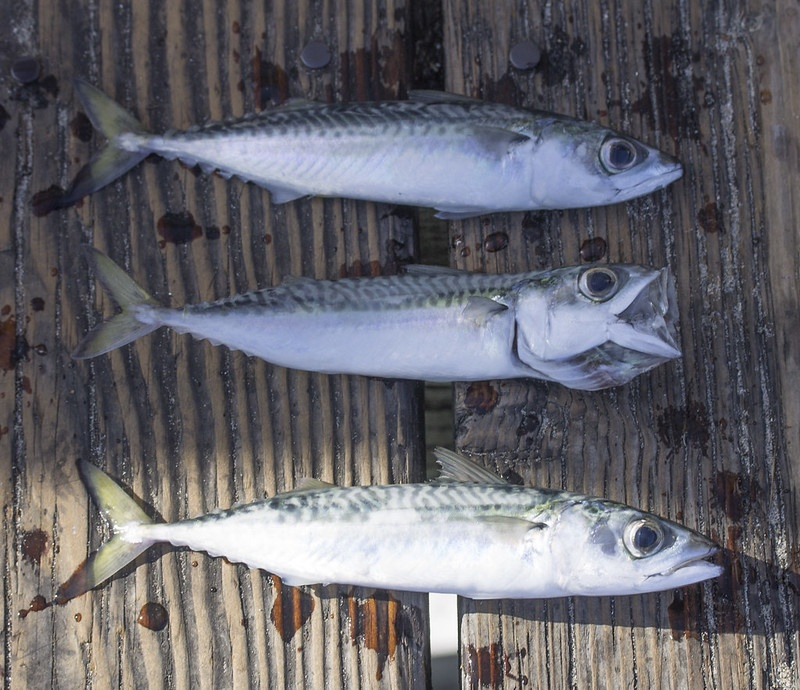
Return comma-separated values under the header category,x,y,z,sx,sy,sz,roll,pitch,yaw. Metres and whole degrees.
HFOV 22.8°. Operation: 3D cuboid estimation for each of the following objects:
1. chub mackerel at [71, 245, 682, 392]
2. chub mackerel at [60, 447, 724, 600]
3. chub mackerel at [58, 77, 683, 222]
category,x,y,z,sx,sy,sz,roll,pitch,yaw
chub mackerel,-0.043,-0.137,6.421,1.793,0.457,0.602,-2,-31,-6
chub mackerel,0.004,0.513,6.298,1.969,0.649,0.620,1,-36,4
chub mackerel,-0.040,-0.598,6.373,1.882,0.455,0.346,12,-59,10
